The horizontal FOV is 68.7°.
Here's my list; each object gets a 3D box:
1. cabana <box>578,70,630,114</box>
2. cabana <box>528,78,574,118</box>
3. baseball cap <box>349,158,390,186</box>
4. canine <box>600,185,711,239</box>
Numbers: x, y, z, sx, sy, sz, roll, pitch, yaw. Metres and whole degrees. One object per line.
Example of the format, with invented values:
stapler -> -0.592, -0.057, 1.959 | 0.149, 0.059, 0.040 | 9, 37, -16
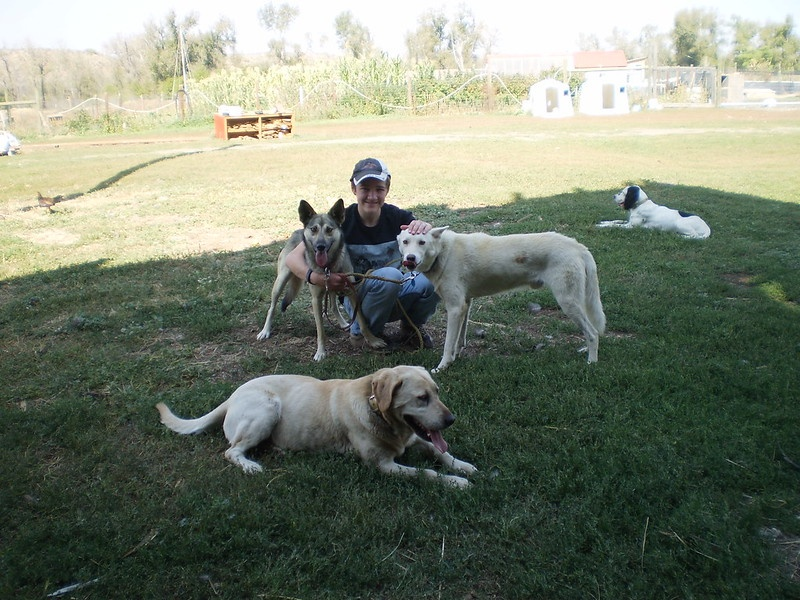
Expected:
cabana -> 12.522, -12.448, 35.825 | 2.801, 2.865, 2.657 | -2, 3, 3
cabana -> 8.479, -10.870, 33.044 | 2.512, 2.175, 2.692 | 0, 29, 5
baseball cap -> -0.303, -1.271, 5.818 | 0.378, 0.233, 0.369 | -9, 22, -14
canine -> 4.074, -1.341, 9.439 | 1.840, 0.808, 0.809 | 15, 25, 37
